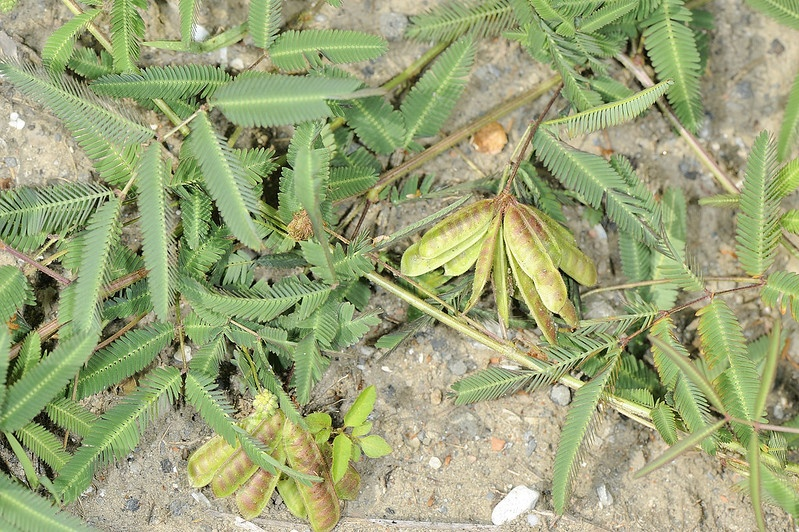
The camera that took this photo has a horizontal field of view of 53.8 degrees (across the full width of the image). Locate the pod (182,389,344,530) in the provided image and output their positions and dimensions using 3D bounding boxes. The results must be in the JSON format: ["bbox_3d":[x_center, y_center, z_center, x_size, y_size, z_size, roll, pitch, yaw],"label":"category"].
[{"bbox_3d":[-0.655,1.005,3.988,0.836,0.225,0.563,42,104,-3],"label":"pod"}]
